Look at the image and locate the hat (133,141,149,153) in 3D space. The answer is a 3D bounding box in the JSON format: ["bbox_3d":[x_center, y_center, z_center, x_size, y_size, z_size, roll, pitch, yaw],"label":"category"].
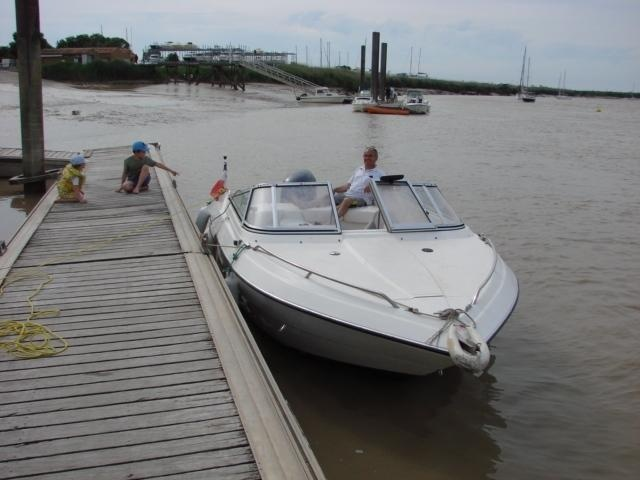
[{"bbox_3d":[-3.159,-1.631,9.624,0.179,0.221,0.730,-3,17,-12],"label":"hat"}]

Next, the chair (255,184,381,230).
[{"bbox_3d":[-0.058,-0.399,6.859,1.391,0.423,0.680,-3,18,-6],"label":"chair"}]

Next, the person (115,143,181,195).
[{"bbox_3d":[-3.193,-1.291,9.596,0.472,0.864,0.753,17,24,37],"label":"person"}]

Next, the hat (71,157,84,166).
[{"bbox_3d":[-3.887,-1.272,8.739,0.195,0.150,0.355,-7,18,-23],"label":"hat"}]

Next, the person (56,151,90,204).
[{"bbox_3d":[-4.044,-0.989,8.833,0.469,0.753,0.431,-7,21,-22],"label":"person"}]

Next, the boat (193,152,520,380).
[{"bbox_3d":[0.435,0.399,6.219,2.558,1.273,3.605,-6,23,-24],"label":"boat"}]
